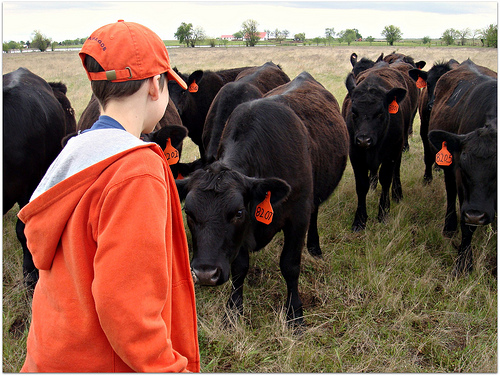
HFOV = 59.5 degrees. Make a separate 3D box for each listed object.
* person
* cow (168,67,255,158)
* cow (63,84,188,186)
[{"bbox_3d":[-0.818,0.127,2.513,0.973,2.124,0.686,-4,13,-5],"label":"person"},{"bbox_3d":[-0.633,-1.943,9.407,0.981,1.670,3.001,2,18,30],"label":"cow"},{"bbox_3d":[-1.496,-0.811,6.065,0.946,1.531,2.758,-1,10,1],"label":"cow"}]
